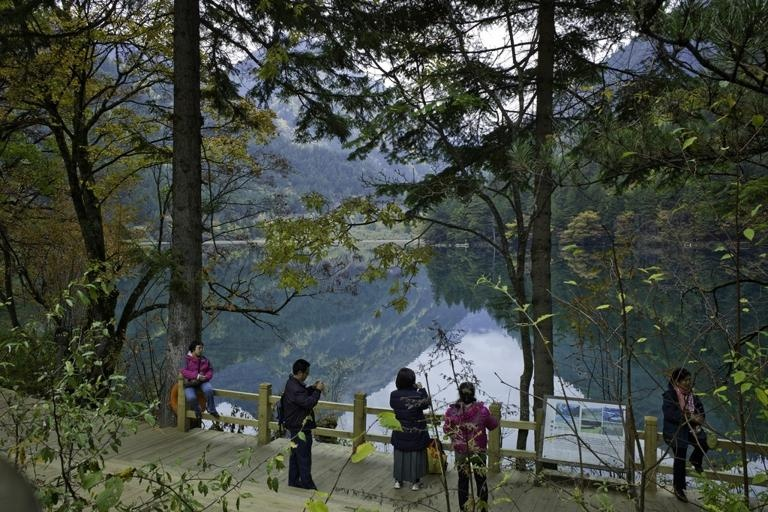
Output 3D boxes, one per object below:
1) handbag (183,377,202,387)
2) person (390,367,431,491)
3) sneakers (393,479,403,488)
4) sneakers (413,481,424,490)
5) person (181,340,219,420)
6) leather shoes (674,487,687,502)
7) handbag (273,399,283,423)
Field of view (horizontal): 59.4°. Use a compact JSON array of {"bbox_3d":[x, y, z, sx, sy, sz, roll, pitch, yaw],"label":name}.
[{"bbox_3d":[-4.005,2.611,13.928,0.418,0.173,0.225,0,-8,3],"label":"handbag"},{"bbox_3d":[0.466,3.087,11.968,0.710,2.178,1.381,0,-8,3],"label":"person"},{"bbox_3d":[0.251,4.160,12.297,0.101,0.108,0.253,3,-2,2],"label":"sneakers"},{"bbox_3d":[0.628,4.162,12.203,0.088,0.090,0.224,4,1,36],"label":"sneakers"},{"bbox_3d":[-3.841,2.579,13.978,0.734,1.526,0.545,4,-9,-20],"label":"person"},{"bbox_3d":[5.132,4.141,11.591,0.184,0.200,0.540,-3,-2,15],"label":"leather shoes"},{"bbox_3d":[-1.958,2.848,12.390,0.119,0.450,0.570,2,-9,-10],"label":"handbag"}]
